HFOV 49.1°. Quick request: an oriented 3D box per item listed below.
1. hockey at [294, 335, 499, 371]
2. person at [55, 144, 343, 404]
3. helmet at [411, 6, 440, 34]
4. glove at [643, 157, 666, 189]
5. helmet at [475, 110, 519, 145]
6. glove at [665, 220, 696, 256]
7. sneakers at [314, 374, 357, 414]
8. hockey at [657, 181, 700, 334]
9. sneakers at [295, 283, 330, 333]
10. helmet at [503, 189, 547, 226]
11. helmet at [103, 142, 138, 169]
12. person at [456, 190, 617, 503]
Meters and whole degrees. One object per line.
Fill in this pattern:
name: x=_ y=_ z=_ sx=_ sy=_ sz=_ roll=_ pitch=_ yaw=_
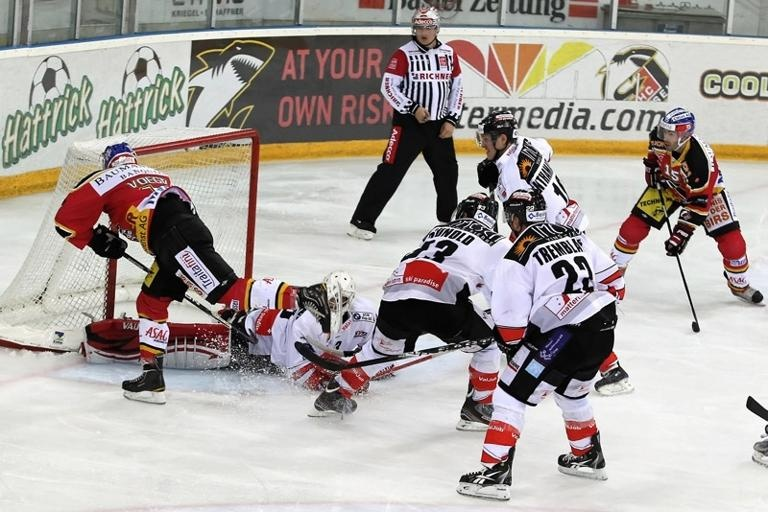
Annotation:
hockey: x=0.039 y=0.587 z=5.063 sx=0.692 sy=0.108 sz=0.321 roll=-6 pitch=4 yaw=-13
person: x=-1.302 y=0.096 z=5.028 sx=1.176 sy=1.461 sz=0.645 roll=5 pitch=13 yaw=22
helmet: x=0.404 y=-2.234 z=8.040 sx=0.258 sy=0.246 sz=0.302 roll=0 pitch=-7 yaw=3
glove: x=2.206 y=-0.675 z=6.902 sx=0.236 sy=0.285 sz=0.217 roll=-3 pitch=13 yaw=10
helmet: x=0.771 y=-0.869 z=5.703 sx=0.271 sy=0.205 sz=0.211 roll=4 pitch=8 yaw=7
glove: x=2.354 y=-0.126 z=6.753 sx=0.200 sy=0.311 sz=0.129 roll=35 pitch=10 yaw=21
sneakers: x=-0.305 y=0.810 z=4.989 sx=0.295 sy=0.248 sz=0.141 roll=-1 pitch=19 yaw=-18
hockey: x=2.438 y=0.035 z=6.954 sx=0.073 sy=1.263 sz=0.060 roll=-5 pitch=-21 yaw=-20
sneakers: x=-0.412 y=0.289 z=4.975 sx=0.172 sy=0.360 sz=0.127 roll=-19 pitch=6 yaw=-4
helmet: x=0.743 y=-0.283 z=4.625 sx=0.184 sy=0.176 sz=0.216 roll=-12 pitch=27 yaw=-32
helmet: x=-1.666 y=-0.613 z=5.228 sx=0.182 sy=0.190 sz=0.204 roll=4 pitch=-4 yaw=-27
person: x=0.774 y=0.540 z=4.301 sx=0.801 sy=1.357 sz=0.361 roll=-7 pitch=14 yaw=-31
